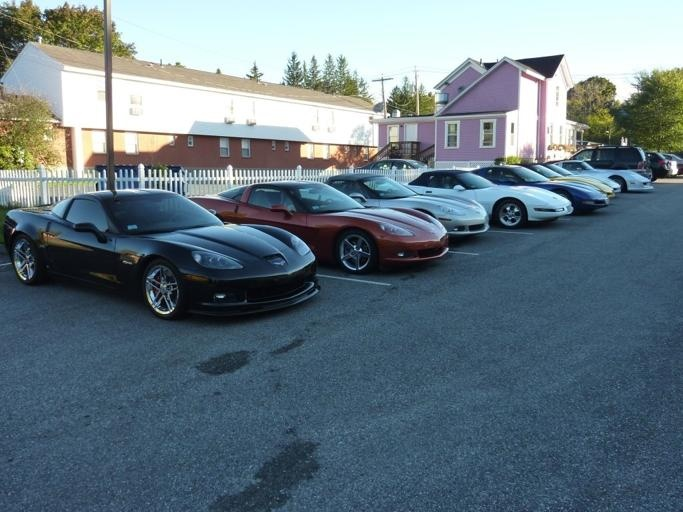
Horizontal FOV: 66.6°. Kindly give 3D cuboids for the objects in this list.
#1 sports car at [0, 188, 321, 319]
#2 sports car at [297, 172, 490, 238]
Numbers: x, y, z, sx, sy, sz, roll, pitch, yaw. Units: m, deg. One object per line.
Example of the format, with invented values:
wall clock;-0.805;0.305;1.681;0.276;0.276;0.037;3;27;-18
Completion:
sports car;-2.514;-0.059;7.016;3.787;1.123;1.848;6;9;29
sports car;1.360;-1.156;11.075;3.138;0.838;1.529;11;14;23
